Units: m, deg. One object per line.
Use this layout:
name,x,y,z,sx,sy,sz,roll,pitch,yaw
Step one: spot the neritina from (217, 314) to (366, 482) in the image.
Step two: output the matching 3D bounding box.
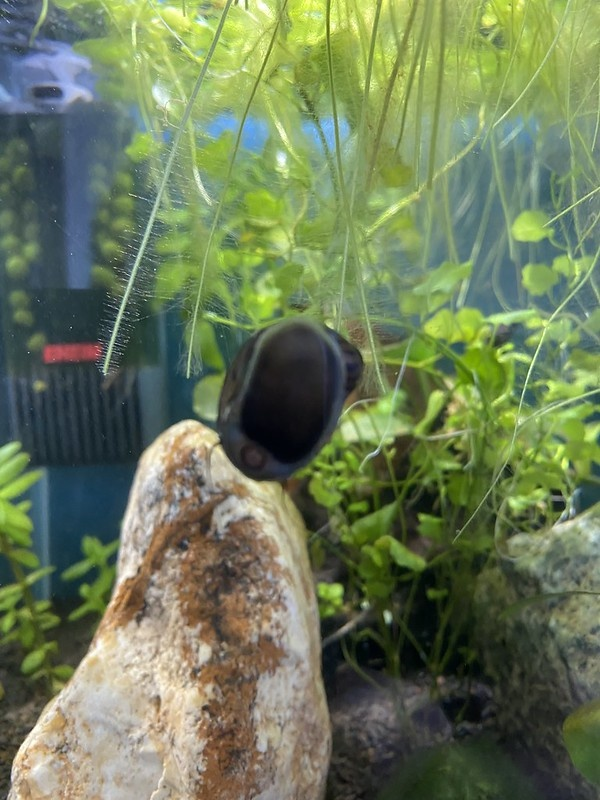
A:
neritina,-0.007,-0.020,1.068,0.171,0.216,0.080,28,9,6
